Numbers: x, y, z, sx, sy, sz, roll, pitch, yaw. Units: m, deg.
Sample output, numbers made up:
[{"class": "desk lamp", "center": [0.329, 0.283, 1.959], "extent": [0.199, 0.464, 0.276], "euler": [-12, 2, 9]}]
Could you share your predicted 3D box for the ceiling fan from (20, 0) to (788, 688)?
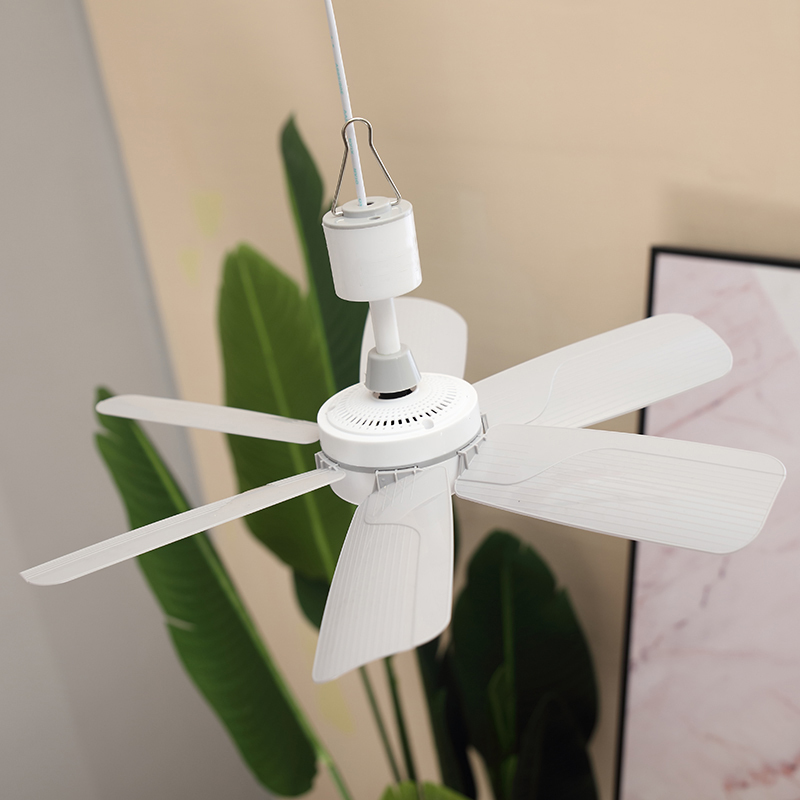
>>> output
[{"class": "ceiling fan", "center": [-0.010, -0.078, 0.769], "extent": [0.676, 0.497, 0.423], "euler": [-7, 28, -5]}]
